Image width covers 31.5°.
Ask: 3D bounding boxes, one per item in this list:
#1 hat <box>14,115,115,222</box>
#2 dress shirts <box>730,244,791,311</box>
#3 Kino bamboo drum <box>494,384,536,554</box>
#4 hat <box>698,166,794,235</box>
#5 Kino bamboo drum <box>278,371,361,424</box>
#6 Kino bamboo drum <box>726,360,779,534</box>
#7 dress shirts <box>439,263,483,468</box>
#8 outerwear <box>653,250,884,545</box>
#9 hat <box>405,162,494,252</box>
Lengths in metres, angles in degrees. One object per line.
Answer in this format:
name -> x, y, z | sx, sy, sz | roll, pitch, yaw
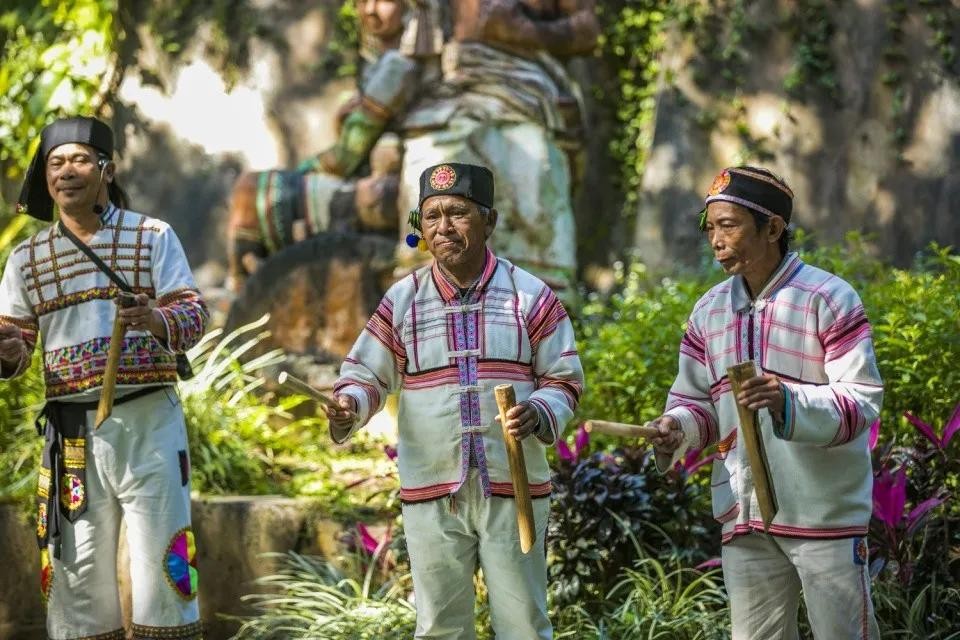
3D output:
hat -> -2.872, -1.043, 11.785 | 0.522, 0.560, 0.631 | 11, -25, -29
dress shirts -> 1.838, -0.284, 11.187 | 0.332, 0.450, 0.188 | 11, -12, 34
Kino bamboo drum -> 0.225, 0.944, 10.984 | 0.193, 1.012, 0.559 | -4, -18, 2
hat -> 1.745, -0.753, 11.211 | 0.454, 0.249, 0.431 | 25, -13, -10
Kino bamboo drum -> -1.193, 0.571, 12.473 | 0.795, 0.102, 0.160 | 38, -7, -38
Kino bamboo drum -> 1.768, 0.802, 10.977 | 0.309, 1.126, 0.340 | -12, 0, 0
dress shirts -> -0.090, 0.387, 11.175 | 0.285, 1.371, 0.255 | -3, -18, -2
outerwear -> 1.934, 0.516, 11.341 | 1.205, 1.833, 1.582 | 4, -7, -41
hat -> -0.208, -0.768, 11.265 | 0.587, 0.442, 0.512 | -1, -1, 1
